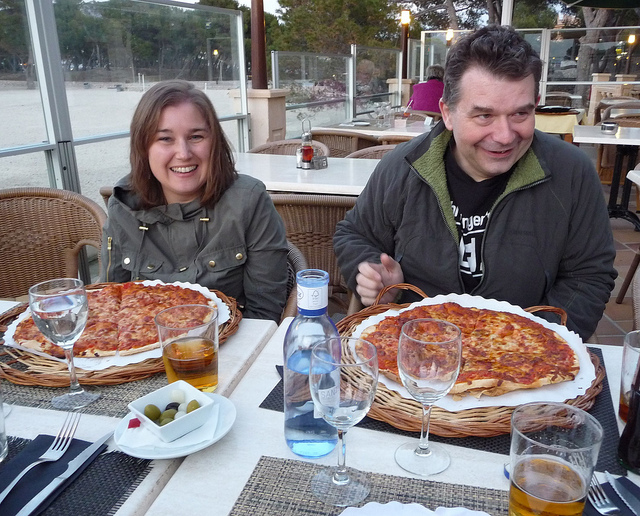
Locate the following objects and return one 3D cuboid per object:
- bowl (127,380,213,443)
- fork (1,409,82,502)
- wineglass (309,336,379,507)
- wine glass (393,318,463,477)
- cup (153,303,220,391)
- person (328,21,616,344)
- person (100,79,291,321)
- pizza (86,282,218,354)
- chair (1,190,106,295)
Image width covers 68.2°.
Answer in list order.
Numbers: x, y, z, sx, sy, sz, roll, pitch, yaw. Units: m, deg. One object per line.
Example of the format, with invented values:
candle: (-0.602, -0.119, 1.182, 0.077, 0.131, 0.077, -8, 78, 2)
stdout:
bowl: (-0.316, 0.323, 1.009, 0.129, 0.041, 0.121, -1, 14, 0)
fork: (-0.549, 0.394, 0.941, 0.023, 0.022, 0.163, 12, 29, 17)
wineglass: (0.045, 0.297, 0.903, 0.121, 0.327, 0.103, -3, 18, -6)
wine glass: (0.222, 0.270, 0.985, 0.130, 0.259, 0.245, 3, 20, 15)
cup: (-0.306, 0.241, 1.188, 0.137, 0.175, 0.120, -4, -6, -14)
person: (0.616, -0.271, 1.992, 1.248, 1.106, 0.667, 8, 34, 21)
person: (-0.550, -0.241, 2.046, 0.823, 0.978, 0.344, 3, 21, 14)
pizza: (-0.581, 0.184, 1.471, 0.251, 0.027, 0.263, 6, 19, -5)
chair: (-1.373, -0.091, 2.384, 0.545, 0.561, 0.448, 1, 16, -16)
